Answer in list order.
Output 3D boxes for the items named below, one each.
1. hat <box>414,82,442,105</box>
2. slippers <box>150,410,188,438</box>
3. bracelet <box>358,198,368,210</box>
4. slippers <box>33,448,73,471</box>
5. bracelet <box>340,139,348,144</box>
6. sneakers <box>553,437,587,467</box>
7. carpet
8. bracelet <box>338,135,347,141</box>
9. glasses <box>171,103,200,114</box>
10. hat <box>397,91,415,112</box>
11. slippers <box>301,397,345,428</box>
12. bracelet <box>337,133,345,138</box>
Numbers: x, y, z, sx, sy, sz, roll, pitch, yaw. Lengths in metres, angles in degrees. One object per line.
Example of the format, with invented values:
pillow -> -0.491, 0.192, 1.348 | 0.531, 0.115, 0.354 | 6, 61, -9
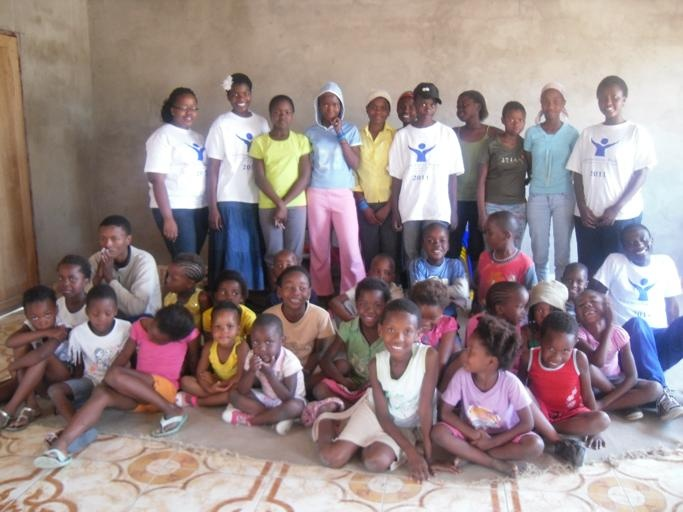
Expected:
hat -> 0.613, -1.163, 4.753 | 0.148, 0.123, 0.201 | -5, 20, -18
slippers -> -0.966, 0.934, 3.696 | 0.087, 0.056, 0.166 | 9, 20, 26
bracelet -> 0.157, -0.381, 4.969 | 0.071, 0.070, 0.069 | -11, 14, -41
slippers -> -1.481, 1.044, 3.408 | 0.171, 0.086, 0.078 | 2, 24, -5
bracelet -> 0.017, -0.822, 4.809 | 0.032, 0.030, 0.032 | 0, 3, 30
sneakers -> 1.197, 1.021, 3.472 | 0.088, 0.074, 0.204 | 30, -4, -16
carpet -> -0.004, 1.008, 3.657 | 3.900, 0.073, 1.018 | 1, 32, 0
bracelet -> 0.001, -0.849, 4.807 | 0.041, 0.030, 0.041 | -2, 5, -21
glasses -> -1.146, -1.064, 4.835 | 0.170, 0.051, 0.068 | -5, 13, -26
hat -> 0.491, -1.179, 5.059 | 0.110, 0.152, 0.051 | 6, 6, 19
slippers -> -0.107, 0.851, 3.762 | 0.219, 0.091, 0.139 | -22, 36, -21
bracelet -> -0.006, -0.868, 4.804 | 0.033, 0.024, 0.034 | 1, -2, -1
